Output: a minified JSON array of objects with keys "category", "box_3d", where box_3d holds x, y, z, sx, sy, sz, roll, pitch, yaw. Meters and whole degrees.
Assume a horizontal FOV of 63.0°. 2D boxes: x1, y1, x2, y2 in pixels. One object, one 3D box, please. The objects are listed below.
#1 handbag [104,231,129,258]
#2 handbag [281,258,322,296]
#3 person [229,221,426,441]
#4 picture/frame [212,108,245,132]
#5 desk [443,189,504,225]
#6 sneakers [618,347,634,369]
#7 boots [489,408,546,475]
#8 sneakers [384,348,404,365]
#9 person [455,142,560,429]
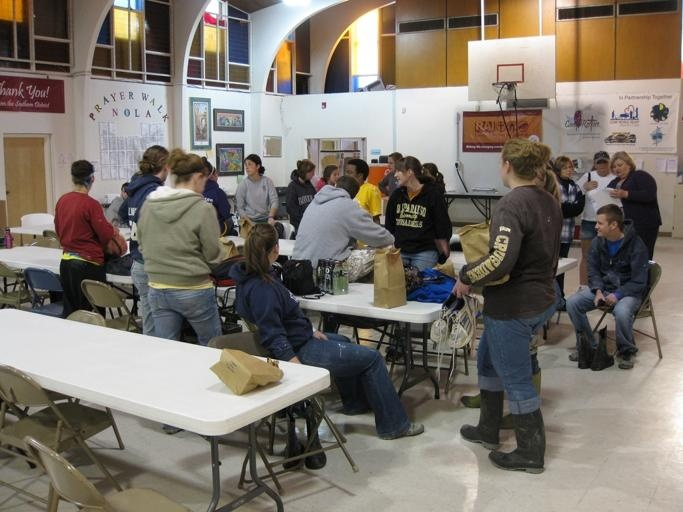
[{"category":"handbag","box_3d":[-2.106,-0.107,5.296,0.201,0.209,0.154,-1,3,-32]},{"category":"handbag","box_3d":[-0.297,0.163,4.230,0.274,0.265,0.203,-1,2,-29]},{"category":"person","box_3d":[-0.096,0.572,3.581,1.074,1.576,0.430,-6,14,-12]},{"category":"picture/frame","box_3d":[-2.806,-3.480,14.349,0.175,0.590,1.207,3,15,24]},{"category":"desk","box_3d":[2.487,-0.977,10.500,1.248,0.841,0.764,8,17,33]},{"category":"sneakers","box_3d":[2.623,0.954,5.165,0.146,0.142,0.265,4,15,26]},{"category":"boots","box_3d":[1.136,1.190,3.657,0.431,0.478,0.251,3,3,17]},{"category":"sneakers","box_3d":[0.508,0.919,5.080,0.143,0.152,0.184,1,-8,-17]},{"category":"person","box_3d":[1.054,0.313,3.552,0.580,2.057,0.554,3,15,21]}]
